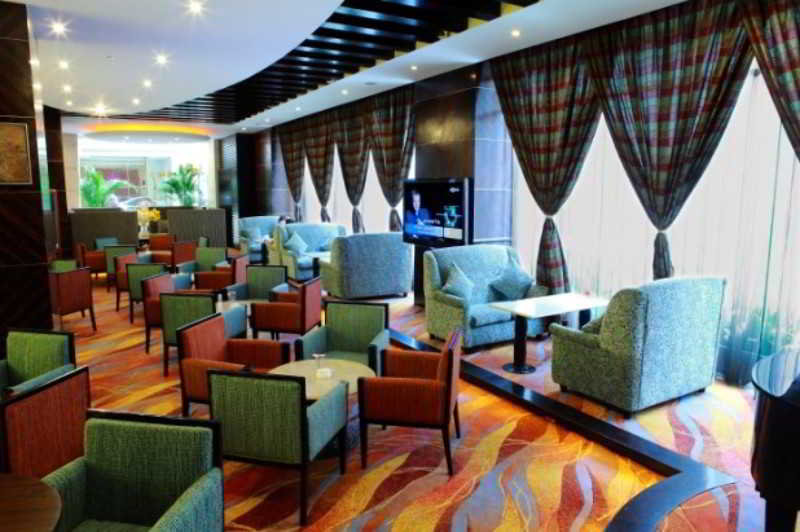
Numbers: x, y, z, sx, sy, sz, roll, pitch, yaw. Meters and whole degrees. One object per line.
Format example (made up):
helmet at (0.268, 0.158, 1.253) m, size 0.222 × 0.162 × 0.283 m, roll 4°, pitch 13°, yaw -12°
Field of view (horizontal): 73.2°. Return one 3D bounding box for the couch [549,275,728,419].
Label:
couch at (2.738, 0.782, 6.288) m, size 1.753 × 1.416 × 1.325 m, roll -6°, pitch 8°, yaw -35°

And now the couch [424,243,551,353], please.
couch at (1.241, 0.424, 7.708) m, size 1.656 × 1.383 × 0.986 m, roll -4°, pitch 6°, yaw -25°

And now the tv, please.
tv at (0.563, -0.901, 8.905) m, size 0.155 × 1.125 × 1.545 m, roll -9°, pitch 13°, yaw -36°

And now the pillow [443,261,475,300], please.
pillow at (0.790, 0.210, 7.412) m, size 0.400 × 0.505 × 0.505 m, roll 0°, pitch 8°, yaw 11°

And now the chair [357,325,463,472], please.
chair at (0.127, 1.201, 5.277) m, size 0.883 × 1.081 × 0.869 m, roll 4°, pitch 9°, yaw 14°

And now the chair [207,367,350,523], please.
chair at (-1.056, 1.392, 5.022) m, size 1.075 × 1.525 × 1.197 m, roll 2°, pitch 7°, yaw 24°
